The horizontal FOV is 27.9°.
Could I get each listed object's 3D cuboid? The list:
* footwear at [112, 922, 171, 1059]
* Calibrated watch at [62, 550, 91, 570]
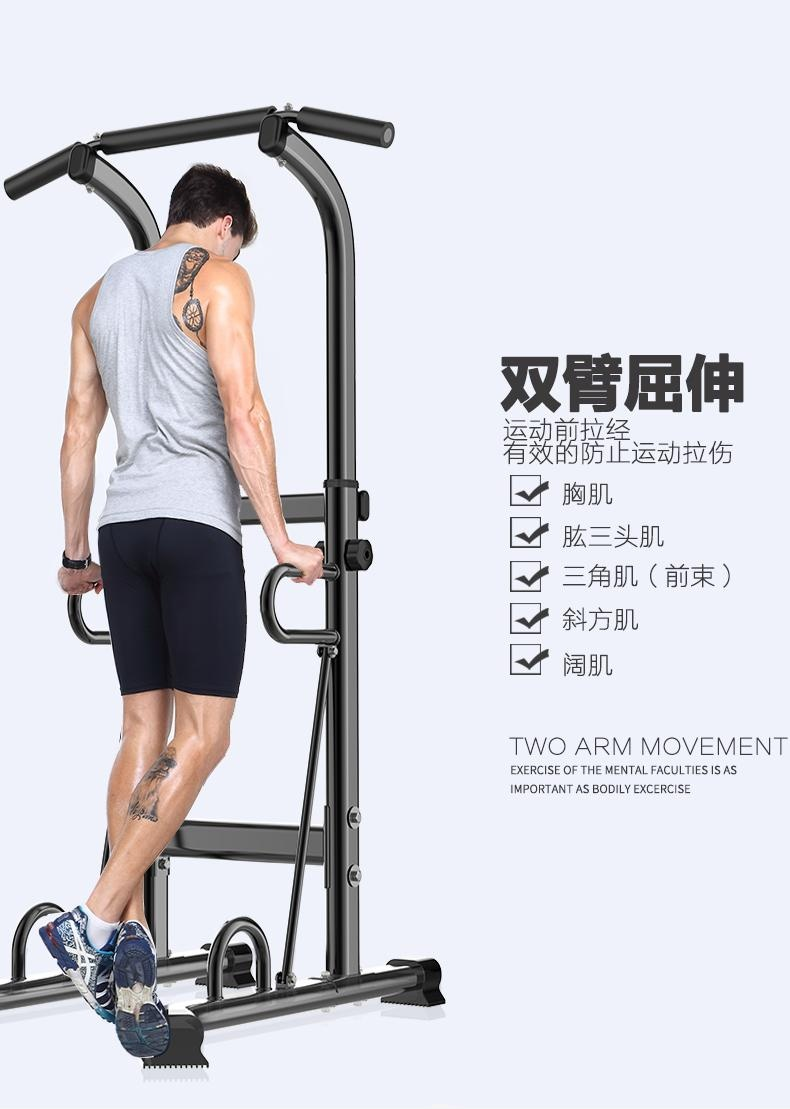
[{"bbox_3d":[-0.430,0.758,2.723,0.100,0.205,0.229,3,-22,-7],"label":"footwear"},{"bbox_3d":[-0.651,0.023,3.264,0.060,0.037,0.057,2,4,-9],"label":"Calibrated watch"}]
